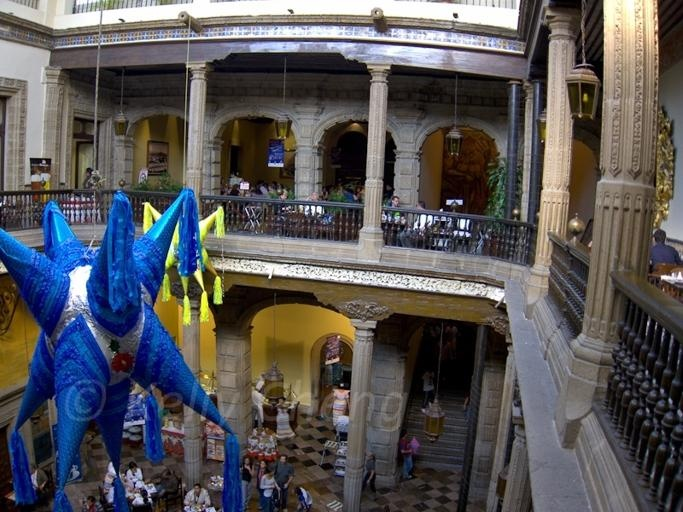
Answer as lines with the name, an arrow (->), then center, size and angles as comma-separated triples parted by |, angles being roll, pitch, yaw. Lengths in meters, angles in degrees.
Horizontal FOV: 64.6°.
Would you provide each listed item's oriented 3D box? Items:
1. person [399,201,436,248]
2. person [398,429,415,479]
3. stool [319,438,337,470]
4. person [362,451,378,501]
person -> 1.477, -0.507, 10.647 | 0.651, 0.673, 0.276 | 5, 3, 7
person -> 1.639, 5.019, 13.665 | 0.423, 0.938, 0.693 | 4, 4, 9
stool -> -0.358, 5.141, 14.167 | 0.363, 0.506, 0.499 | 4, -6, 3
person -> 0.686, 5.088, 12.861 | 0.305, 0.933, 0.742 | 4, 4, 4
